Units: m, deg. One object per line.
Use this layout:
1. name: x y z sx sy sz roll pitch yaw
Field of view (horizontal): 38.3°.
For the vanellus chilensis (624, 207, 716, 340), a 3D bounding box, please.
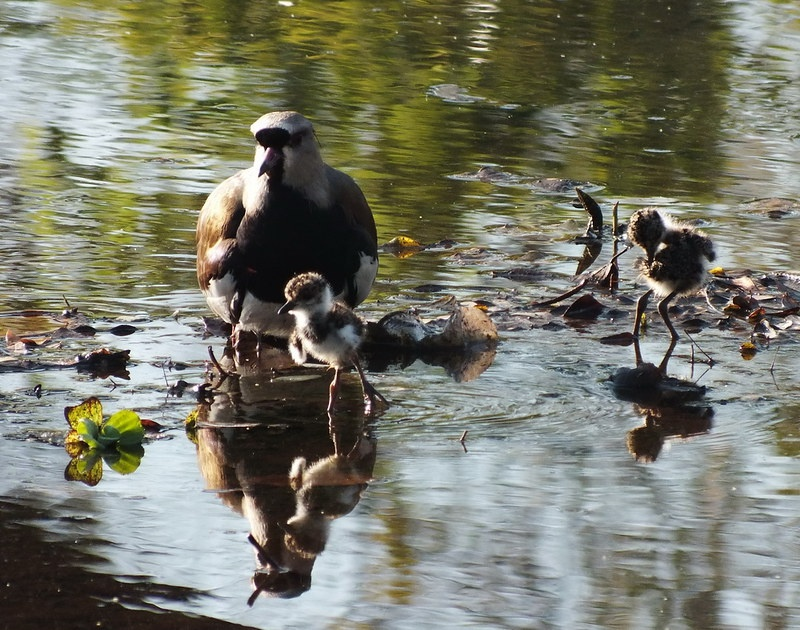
1. vanellus chilensis: 2.026 -0.314 8.400 0.568 0.918 0.682 -2 10 -9
